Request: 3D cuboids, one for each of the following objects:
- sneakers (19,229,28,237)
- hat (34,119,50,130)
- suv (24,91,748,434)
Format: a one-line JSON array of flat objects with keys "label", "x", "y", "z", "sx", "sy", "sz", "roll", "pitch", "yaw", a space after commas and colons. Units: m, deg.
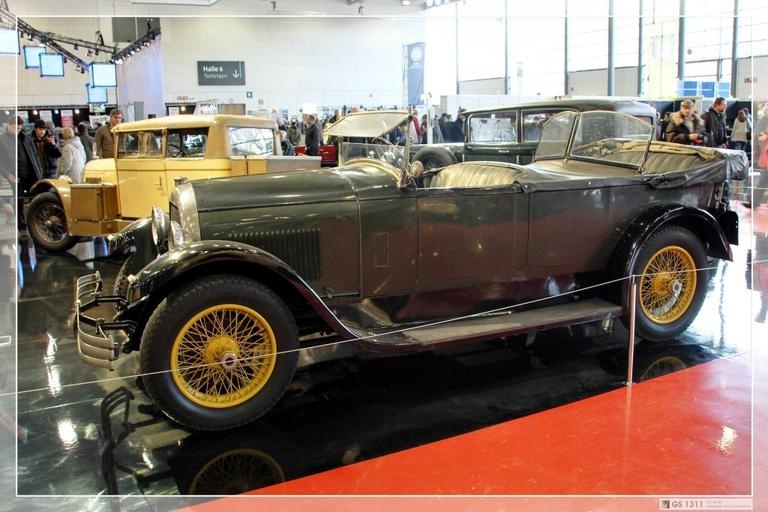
[{"label": "sneakers", "x": -5.412, "y": -0.337, "z": 7.945, "sx": 0.075, "sy": 0.094, "sz": 0.137, "roll": -3, "pitch": 4, "yaw": -19}, {"label": "hat", "x": -4.907, "y": -1.874, "z": 7.592, "sx": 0.140, "sy": 0.097, "sz": 0.183, "roll": -7, "pitch": 7, "yaw": -44}, {"label": "suv", "x": 0.354, "y": -0.006, "z": 4.554, "sx": 5.796, "sy": 1.895, "sz": 2.356, "roll": -4, "pitch": 9, "yaw": -16}]
